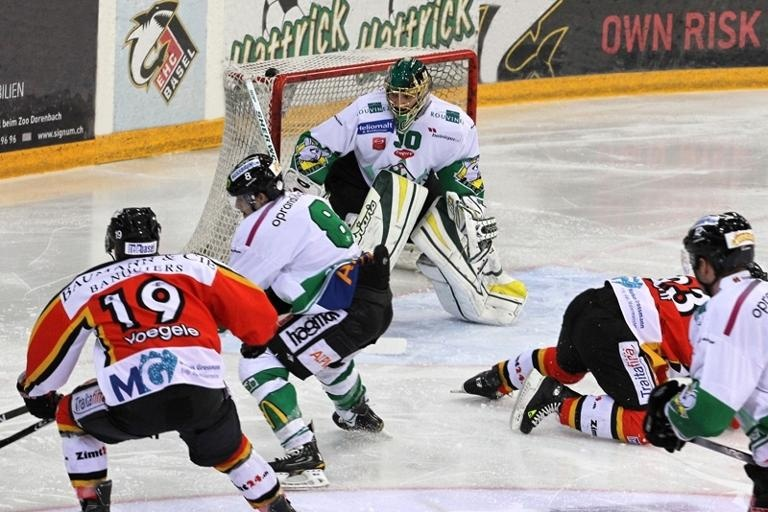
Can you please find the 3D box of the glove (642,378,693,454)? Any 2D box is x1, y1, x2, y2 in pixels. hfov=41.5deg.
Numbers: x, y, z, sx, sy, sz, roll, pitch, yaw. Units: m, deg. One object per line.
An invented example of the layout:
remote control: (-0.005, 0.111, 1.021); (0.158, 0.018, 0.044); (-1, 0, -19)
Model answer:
glove: (1.263, 0.727, 4.578); (0.150, 0.350, 0.180); (2, -1, 2)

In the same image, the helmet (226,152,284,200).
helmet: (-0.626, -0.402, 5.114); (0.299, 0.232, 0.214); (-8, 0, 1)

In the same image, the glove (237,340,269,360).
glove: (-0.632, 0.460, 4.911); (0.140, 0.066, 0.095); (-4, 18, -6)

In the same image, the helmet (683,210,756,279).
helmet: (1.448, -0.073, 4.501); (0.297, 0.269, 0.309); (-8, 21, -23)
